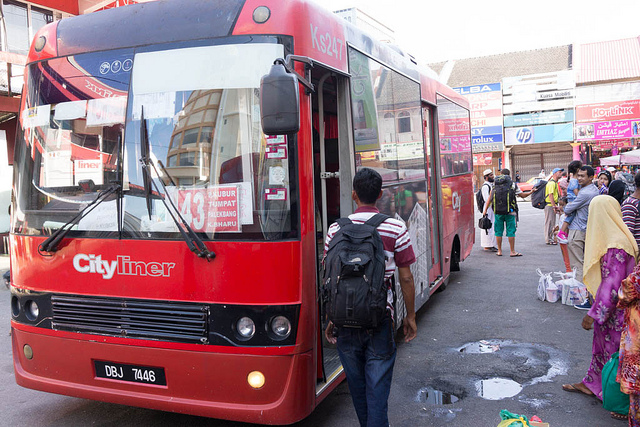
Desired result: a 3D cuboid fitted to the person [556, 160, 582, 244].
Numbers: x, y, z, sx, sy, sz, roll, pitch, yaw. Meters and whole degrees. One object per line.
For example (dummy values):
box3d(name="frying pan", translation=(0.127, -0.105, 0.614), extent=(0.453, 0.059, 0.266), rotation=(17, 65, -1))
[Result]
box3d(name="person", translation=(5.290, -0.219, 11.012), extent=(0.468, 1.712, 0.469), rotation=(6, 2, 6))

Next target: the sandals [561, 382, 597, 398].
box3d(name="sandals", translation=(3.050, 2.068, 5.947), extent=(0.306, 0.111, 0.124), rotation=(5, 0, 31))

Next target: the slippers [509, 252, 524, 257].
box3d(name="slippers", translation=(5.096, 1.075, 13.087), extent=(0.355, 0.154, 0.125), rotation=(-3, 3, 29))
